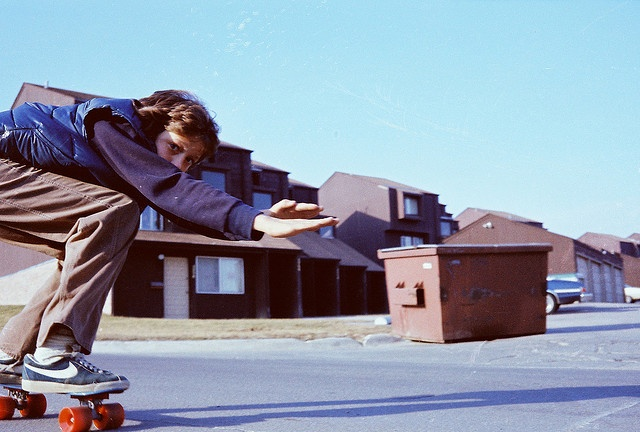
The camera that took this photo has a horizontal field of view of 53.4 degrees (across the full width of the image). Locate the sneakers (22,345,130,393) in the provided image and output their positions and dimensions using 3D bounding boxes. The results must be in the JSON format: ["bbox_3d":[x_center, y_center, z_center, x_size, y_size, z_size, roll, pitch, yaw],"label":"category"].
[{"bbox_3d":[-1.417,0.895,3.717,0.659,0.275,0.234,-1,-10,6],"label":"sneakers"}]
